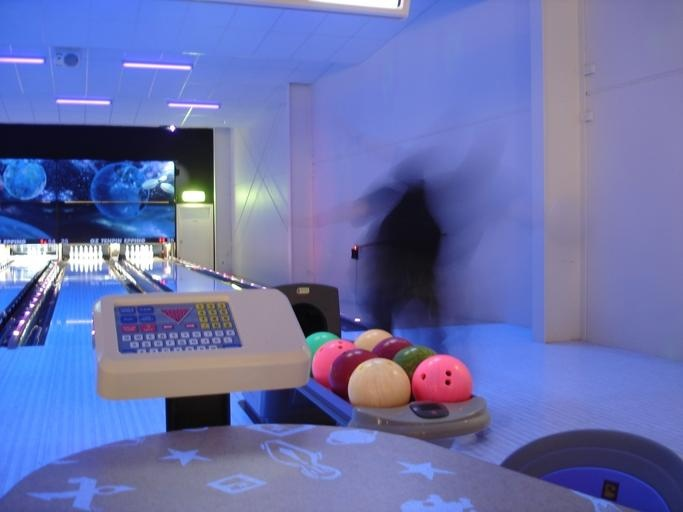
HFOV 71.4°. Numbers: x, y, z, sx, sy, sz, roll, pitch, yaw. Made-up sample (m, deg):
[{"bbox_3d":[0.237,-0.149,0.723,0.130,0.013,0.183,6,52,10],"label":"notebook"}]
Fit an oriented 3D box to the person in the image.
[{"bbox_3d":[0.637,-0.046,5.347,0.346,1.703,1.519,3,-10,-19],"label":"person"}]
